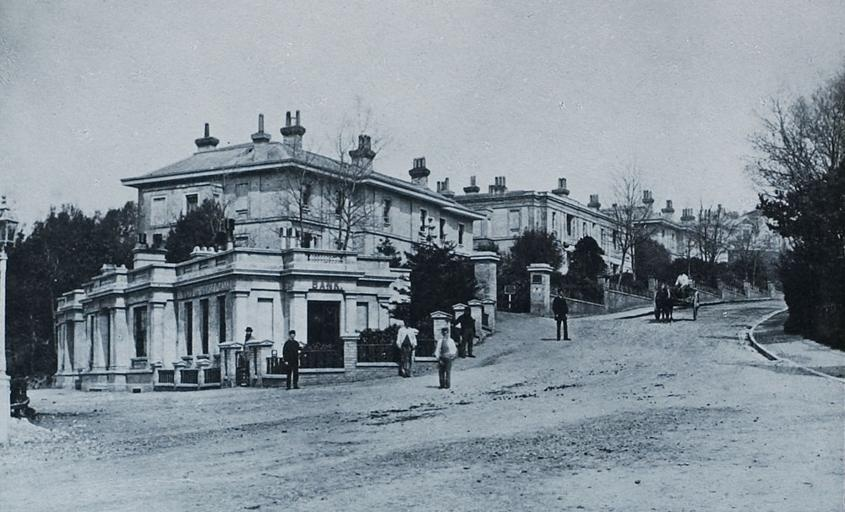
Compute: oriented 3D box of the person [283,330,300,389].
[{"bbox_3d":[-6.085,4.996,53.684,0.711,2.252,0.769,-4,7,-7],"label":"person"}]
